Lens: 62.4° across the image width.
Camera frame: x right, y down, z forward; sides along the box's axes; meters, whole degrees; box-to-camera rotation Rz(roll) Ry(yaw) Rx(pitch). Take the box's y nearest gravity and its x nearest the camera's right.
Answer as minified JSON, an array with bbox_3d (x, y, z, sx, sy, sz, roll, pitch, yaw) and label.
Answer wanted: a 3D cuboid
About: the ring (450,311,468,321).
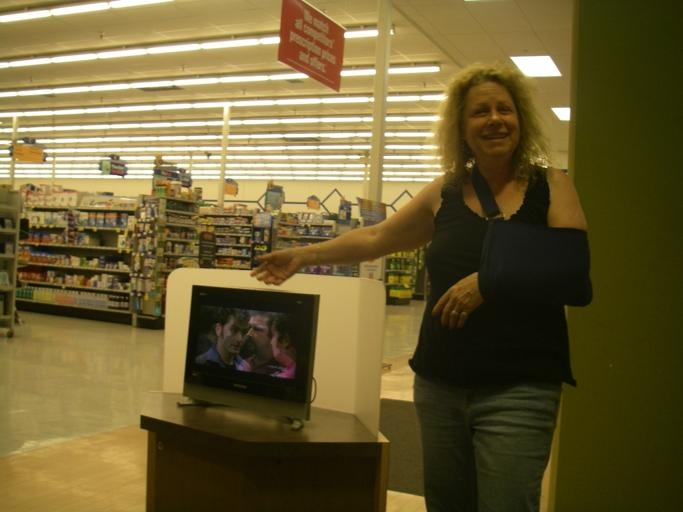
[{"bbox_3d":[0.363,0.183,1.740,0.030,0.016,0.039,-4,-10,44],"label":"ring"}]

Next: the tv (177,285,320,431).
[{"bbox_3d":[-0.364,0.428,2.304,0.541,0.448,0.255,3,-9,20],"label":"tv"}]
